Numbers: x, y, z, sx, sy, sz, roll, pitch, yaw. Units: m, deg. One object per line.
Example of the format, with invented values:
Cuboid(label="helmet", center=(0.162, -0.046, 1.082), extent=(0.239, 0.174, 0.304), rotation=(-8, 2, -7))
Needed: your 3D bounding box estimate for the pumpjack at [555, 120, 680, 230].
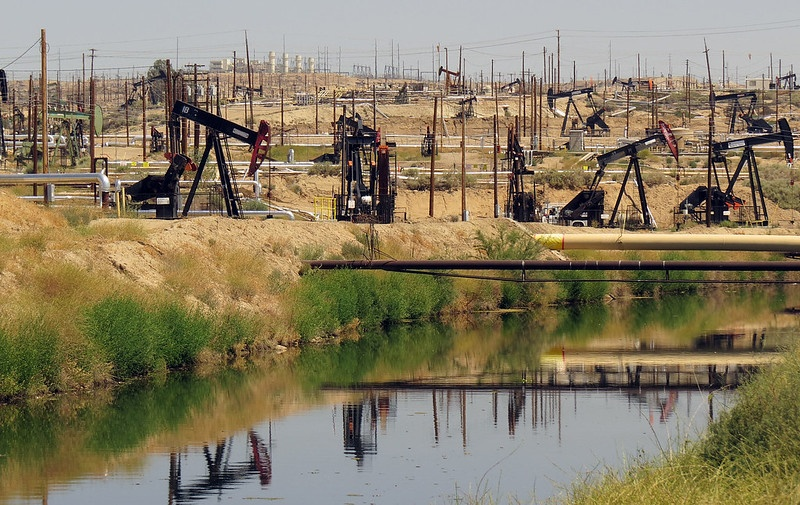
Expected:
Cuboid(label="pumpjack", center=(18.188, -6.675, 139.213), extent=(9.197, 10.756, 3.786), rotation=(0, -20, 10))

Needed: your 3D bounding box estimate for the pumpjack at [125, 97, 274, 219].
Cuboid(label="pumpjack", center=(-14.446, -6.458, 119.037), extent=(9.858, 8.610, 3.309), rotation=(1, 0, -3))

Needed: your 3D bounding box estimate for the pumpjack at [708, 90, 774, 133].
Cuboid(label="pumpjack", center=(36.512, -15.002, 179.694), extent=(6.982, 4.231, 1.250), rotation=(4, -7, -1))

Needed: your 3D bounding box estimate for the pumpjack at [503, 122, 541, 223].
Cuboid(label="pumpjack", center=(10.110, -6.981, 141.232), extent=(2.639, 7.850, 22.235), rotation=(-1, 6, 5))

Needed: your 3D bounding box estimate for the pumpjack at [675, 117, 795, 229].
Cuboid(label="pumpjack", center=(29.936, -7.607, 150.906), extent=(9.546, 8.866, 27.670), rotation=(-1, 6, 12))

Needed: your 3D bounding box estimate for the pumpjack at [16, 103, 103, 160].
Cuboid(label="pumpjack", center=(-33.987, -12.680, 171.384), extent=(8.108, 5.855, 2.584), rotation=(3, 9, 44))

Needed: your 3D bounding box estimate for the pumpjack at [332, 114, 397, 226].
Cuboid(label="pumpjack", center=(-2.702, -5.923, 134.257), extent=(3.247, 6.701, 13.275), rotation=(0, 1, -3))
